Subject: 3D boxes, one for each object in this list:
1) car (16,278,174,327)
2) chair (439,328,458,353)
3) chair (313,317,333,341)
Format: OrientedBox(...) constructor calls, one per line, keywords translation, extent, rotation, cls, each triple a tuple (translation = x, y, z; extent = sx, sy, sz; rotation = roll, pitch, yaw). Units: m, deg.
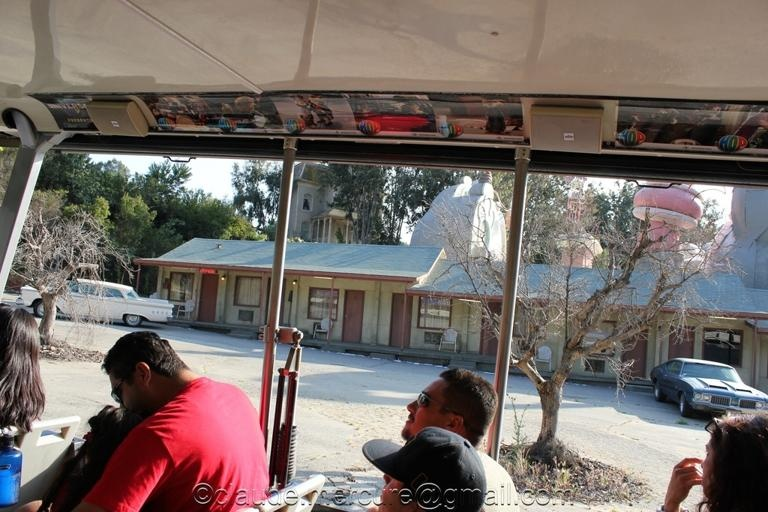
OrientedBox(translation=(-7.909, 1.319, 15.773), extent=(3.829, 1.105, 1.555), rotation=(9, -7, -2), cls="car")
OrientedBox(translation=(2.299, 2.869, 19.397), extent=(0.728, 0.994, 0.690), rotation=(-1, -14, 18), cls="chair")
OrientedBox(translation=(-2.227, 2.679, 21.162), extent=(0.579, 0.807, 1.360), rotation=(7, -7, -23), cls="chair")
